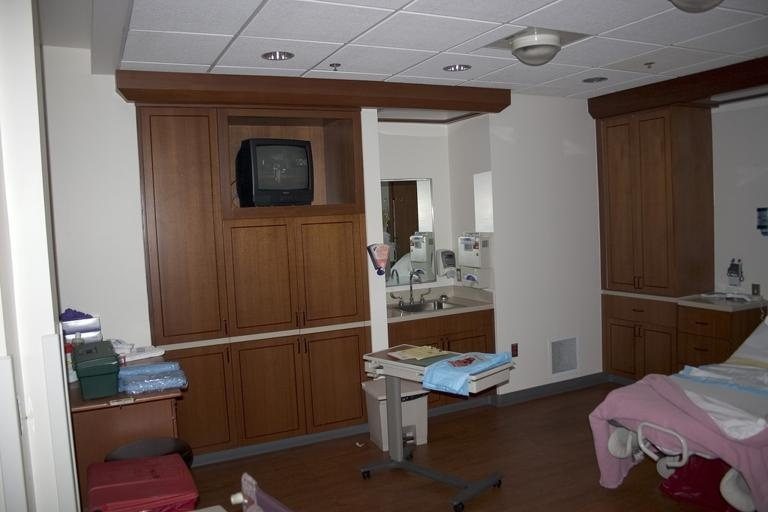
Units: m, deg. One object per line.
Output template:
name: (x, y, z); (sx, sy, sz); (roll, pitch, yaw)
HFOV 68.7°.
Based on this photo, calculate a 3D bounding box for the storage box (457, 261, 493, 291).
storage box: (1.082, 0.167, 6.712); (0.290, 0.275, 0.477); (-3, 6, -25)

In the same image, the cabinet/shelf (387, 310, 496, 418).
cabinet/shelf: (0.881, 1.264, 6.663); (1.275, 1.078, 0.692); (-15, -25, 37)

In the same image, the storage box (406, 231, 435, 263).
storage box: (0.507, -0.100, 7.195); (0.479, 0.422, 0.447); (0, 6, 13)

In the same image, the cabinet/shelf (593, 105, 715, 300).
cabinet/shelf: (3.450, -0.661, 6.996); (0.940, 2.149, 1.178); (-6, 6, -27)

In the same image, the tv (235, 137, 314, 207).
tv: (-0.874, -0.887, 5.946); (0.956, 0.702, 0.882); (0, 7, 9)

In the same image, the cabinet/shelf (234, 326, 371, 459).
cabinet/shelf: (-0.895, 1.407, 5.737); (1.491, 1.039, 0.541); (-4, 2, -24)

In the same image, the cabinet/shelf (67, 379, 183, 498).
cabinet/shelf: (-2.056, 1.394, 4.841); (1.028, 1.068, 0.741); (-3, 7, -20)

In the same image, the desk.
desk: (0.799, 1.407, 5.299); (1.626, 1.325, 1.062); (3, 6, 40)

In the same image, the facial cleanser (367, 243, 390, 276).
facial cleanser: (-0.017, 0.035, 6.045); (0.295, 0.334, 0.092); (-3, -2, 26)

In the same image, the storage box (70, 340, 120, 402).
storage box: (-2.276, 0.904, 4.438); (0.294, 0.382, 0.367); (-8, 6, -30)

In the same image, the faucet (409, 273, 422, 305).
faucet: (0.360, 0.391, 6.977); (0.093, 0.384, 0.216); (-3, 6, 21)

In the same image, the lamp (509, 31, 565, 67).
lamp: (1.269, -1.757, 4.770); (0.304, 0.168, 0.281); (0, -4, 6)

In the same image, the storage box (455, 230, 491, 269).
storage box: (1.131, -0.088, 6.743); (0.287, 0.414, 0.499); (-2, 3, -26)

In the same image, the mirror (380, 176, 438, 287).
mirror: (0.309, -0.309, 7.023); (0.758, 1.317, 0.127); (-7, 6, -23)
